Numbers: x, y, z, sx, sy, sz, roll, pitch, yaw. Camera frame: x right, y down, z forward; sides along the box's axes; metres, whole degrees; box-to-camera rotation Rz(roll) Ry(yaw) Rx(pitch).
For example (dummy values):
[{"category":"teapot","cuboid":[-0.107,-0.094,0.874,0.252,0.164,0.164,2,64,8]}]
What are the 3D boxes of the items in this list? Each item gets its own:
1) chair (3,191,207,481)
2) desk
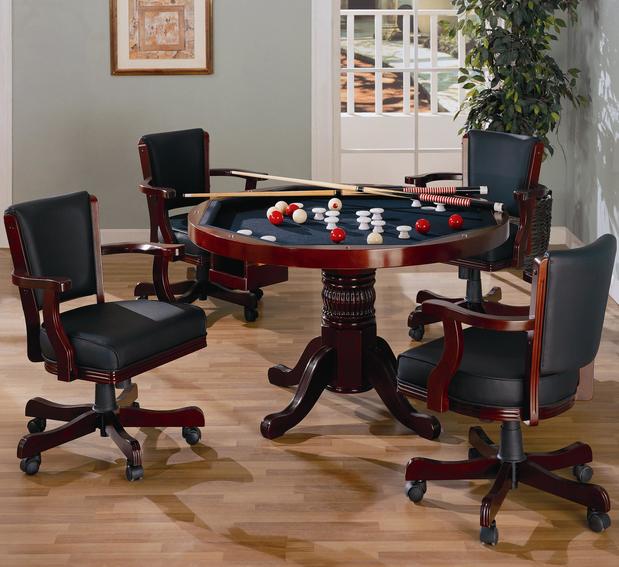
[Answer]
[{"category":"chair","cuboid":[-0.741,0.118,2.514,0.977,0.972,0.693,5,13,22]},{"category":"desk","cuboid":[0.150,0.028,2.772,1.442,0.682,1.171,-2,13,-8]}]
